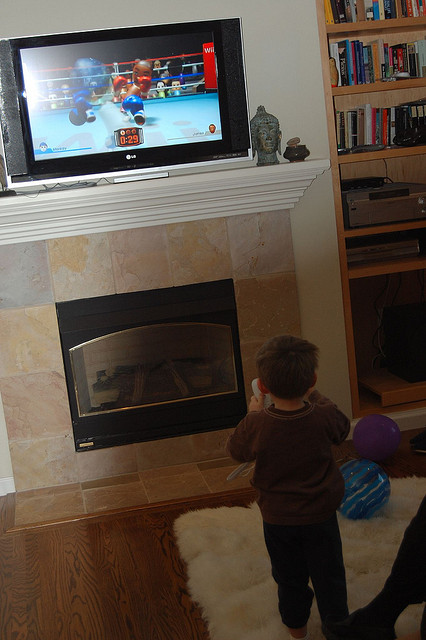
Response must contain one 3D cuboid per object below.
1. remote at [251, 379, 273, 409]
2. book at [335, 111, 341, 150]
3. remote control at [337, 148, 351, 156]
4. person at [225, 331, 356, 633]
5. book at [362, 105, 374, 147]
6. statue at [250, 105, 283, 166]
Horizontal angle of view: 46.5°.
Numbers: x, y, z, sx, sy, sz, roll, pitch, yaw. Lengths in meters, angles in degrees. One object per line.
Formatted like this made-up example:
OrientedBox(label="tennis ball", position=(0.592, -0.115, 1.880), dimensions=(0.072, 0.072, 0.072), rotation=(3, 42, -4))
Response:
OrientedBox(label="remote", position=(0.165, 0.259, 1.713), dimensions=(0.046, 0.172, 0.023), rotation=(-19, 54, 5))
OrientedBox(label="book", position=(0.616, -0.935, 2.434), dimensions=(0.033, 0.172, 0.051), rotation=(-7, 7, 14))
OrientedBox(label="remote control", position=(0.641, -0.831, 2.431), dimensions=(0.062, 0.040, 0.075), rotation=(-6, 8, 17))
OrientedBox(label="person", position=(0.166, 0.402, 1.071), dimensions=(0.266, 0.726, 0.254), rotation=(-6, 7, 18))
OrientedBox(label="book", position=(0.760, -0.961, 2.459), dimensions=(0.040, 0.169, 0.165), rotation=(-6, 11, 5))
OrientedBox(label="statue", position=(0.236, -0.843, 2.254), dimensions=(0.132, 0.298, 0.200), rotation=(-8, 7, 9))
